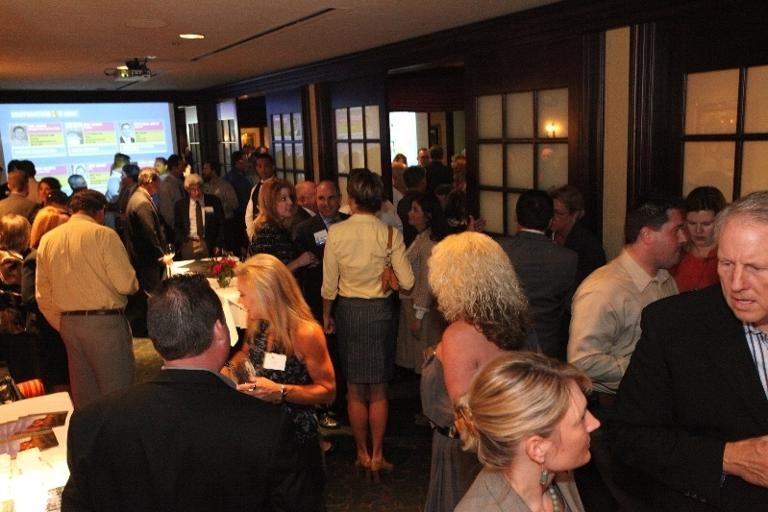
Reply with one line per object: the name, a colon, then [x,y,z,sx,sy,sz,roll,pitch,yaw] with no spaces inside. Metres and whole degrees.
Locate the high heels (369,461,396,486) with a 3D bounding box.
high heels: [-0.012,1.480,3.944,0.083,0.122,0.247,2,9,31]

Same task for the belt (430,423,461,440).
belt: [0.284,0.832,2.740,0.149,0.061,0.124,-2,-2,27]

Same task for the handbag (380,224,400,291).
handbag: [0.032,0.025,3.863,0.108,0.450,0.137,-4,12,1]

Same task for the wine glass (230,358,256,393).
wine glass: [-0.749,0.628,3.001,0.121,0.070,0.149,6,22,-17]

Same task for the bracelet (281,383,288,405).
bracelet: [-0.520,0.723,2.962,0.051,0.075,0.073,0,4,-17]
